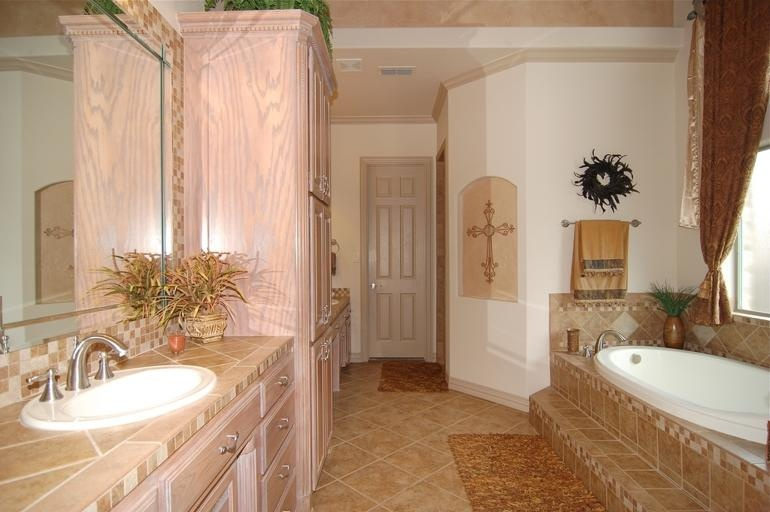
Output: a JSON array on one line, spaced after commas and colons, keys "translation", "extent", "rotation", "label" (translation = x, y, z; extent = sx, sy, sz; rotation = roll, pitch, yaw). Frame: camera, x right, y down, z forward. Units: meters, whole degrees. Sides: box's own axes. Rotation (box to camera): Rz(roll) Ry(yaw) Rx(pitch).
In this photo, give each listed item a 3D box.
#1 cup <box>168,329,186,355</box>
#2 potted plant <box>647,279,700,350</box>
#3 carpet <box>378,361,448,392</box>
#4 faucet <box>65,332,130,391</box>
[{"translation": [-1.192, 0.493, 2.984], "extent": [0.116, 0.132, 0.115], "rotation": [2, 7, 0], "label": "cup"}, {"translation": [2.473, 0.546, 4.725], "extent": [0.468, 0.709, 0.463], "rotation": [1, -6, -2], "label": "potted plant"}, {"translation": [0.304, 1.347, 5.812], "extent": [0.733, 0.083, 1.065], "rotation": [-1, 8, 2], "label": "carpet"}, {"translation": [-1.394, 0.504, 2.478], "extent": [0.267, 0.256, 0.108], "rotation": [-2, 13, -18], "label": "faucet"}]
